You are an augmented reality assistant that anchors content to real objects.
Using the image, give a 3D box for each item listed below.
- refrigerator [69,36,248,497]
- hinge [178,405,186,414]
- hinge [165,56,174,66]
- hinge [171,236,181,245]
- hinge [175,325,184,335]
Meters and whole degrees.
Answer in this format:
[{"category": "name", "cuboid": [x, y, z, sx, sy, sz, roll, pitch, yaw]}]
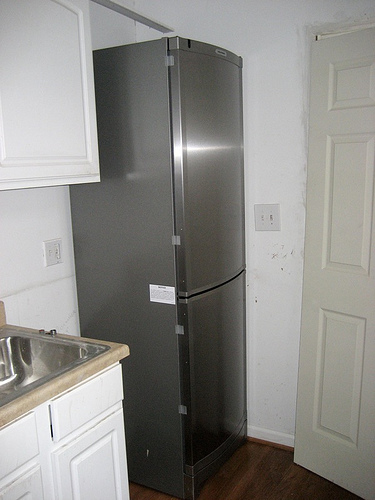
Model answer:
[{"category": "refrigerator", "cuboid": [-0.128, 0.178, 1.987, 0.625, 2.010, 0.809, 3, 12, 17]}, {"category": "hinge", "cuboid": [-0.020, 0.657, 1.677, 0.037, 0.038, 0.016, 0, 2, 37]}, {"category": "hinge", "cuboid": [-0.064, -0.681, 1.465, 0.031, 0.043, 0.026, 3, 16, 7]}, {"category": "hinge", "cuboid": [-0.042, -0.039, 1.572, 0.025, 0.040, 0.037, 3, 4, 27]}, {"category": "hinge", "cuboid": [-0.031, 0.317, 1.618, 0.029, 0.045, 0.044, 1, 4, 16]}]
